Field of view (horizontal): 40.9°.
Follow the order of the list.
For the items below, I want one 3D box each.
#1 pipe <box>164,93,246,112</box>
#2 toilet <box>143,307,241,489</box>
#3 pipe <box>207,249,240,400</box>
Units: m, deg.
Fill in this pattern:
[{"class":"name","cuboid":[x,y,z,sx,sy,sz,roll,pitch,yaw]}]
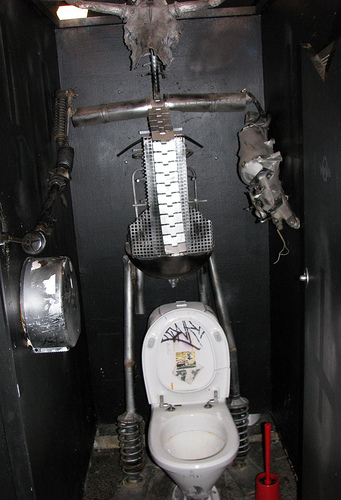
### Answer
[{"class":"pipe","cuboid":[0.146,-0.691,2.074,0.598,0.082,0.387,1,21,6]},{"class":"toilet","cuboid":[0.064,0.582,1.816,0.373,0.525,0.412,-5,2,3]},{"class":"pipe","cuboid":[0.207,0.341,2.116,0.183,0.638,0.197,1,18,-5]}]
